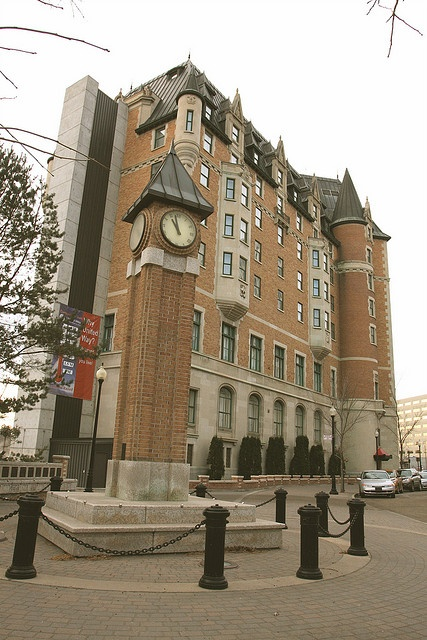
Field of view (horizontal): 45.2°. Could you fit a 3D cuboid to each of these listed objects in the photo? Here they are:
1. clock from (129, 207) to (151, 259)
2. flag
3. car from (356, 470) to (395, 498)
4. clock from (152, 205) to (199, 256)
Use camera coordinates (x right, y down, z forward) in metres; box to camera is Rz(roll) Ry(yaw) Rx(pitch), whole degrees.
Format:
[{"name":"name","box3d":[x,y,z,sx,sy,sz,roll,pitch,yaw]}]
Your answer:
[{"name":"clock","box3d":[-1.731,-2.017,11.782,0.075,0.972,1.021,16,9,9]},{"name":"flag","box3d":[-7.485,1.786,27.757,0.246,4.806,2.725,-16,-28,39]},{"name":"car","box3d":[7.614,7.779,24.235,1.549,1.195,1.638,-1,-15,15]},{"name":"clock","box3d":[-0.880,-1.929,11.188,1.192,1.187,0.090,5,-21,-45]}]
